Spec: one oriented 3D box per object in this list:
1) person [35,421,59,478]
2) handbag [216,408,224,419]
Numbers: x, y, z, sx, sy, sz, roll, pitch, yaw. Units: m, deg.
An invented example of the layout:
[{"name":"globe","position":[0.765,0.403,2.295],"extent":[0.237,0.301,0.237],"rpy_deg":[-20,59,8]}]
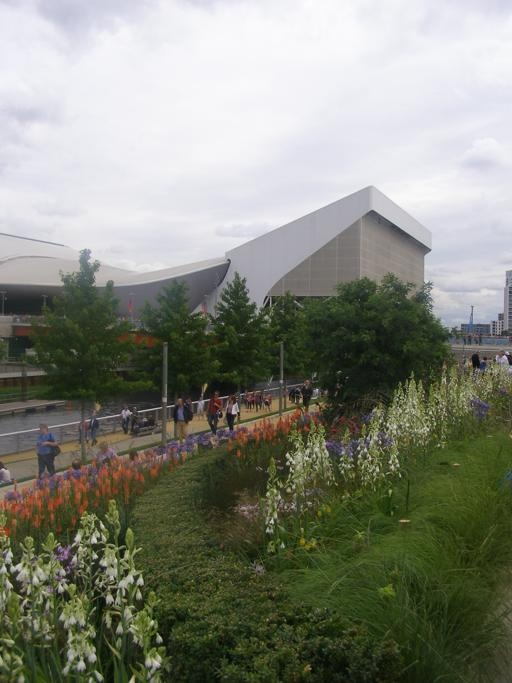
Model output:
[{"name":"person","position":[-4.432,2.276,12.394],"extent":[0.439,1.080,1.139],"rpy_deg":[1,0,-19]},{"name":"handbag","position":[-1.154,2.333,18.805],"extent":[0.265,0.376,0.336],"rpy_deg":[-1,-5,-8]}]
